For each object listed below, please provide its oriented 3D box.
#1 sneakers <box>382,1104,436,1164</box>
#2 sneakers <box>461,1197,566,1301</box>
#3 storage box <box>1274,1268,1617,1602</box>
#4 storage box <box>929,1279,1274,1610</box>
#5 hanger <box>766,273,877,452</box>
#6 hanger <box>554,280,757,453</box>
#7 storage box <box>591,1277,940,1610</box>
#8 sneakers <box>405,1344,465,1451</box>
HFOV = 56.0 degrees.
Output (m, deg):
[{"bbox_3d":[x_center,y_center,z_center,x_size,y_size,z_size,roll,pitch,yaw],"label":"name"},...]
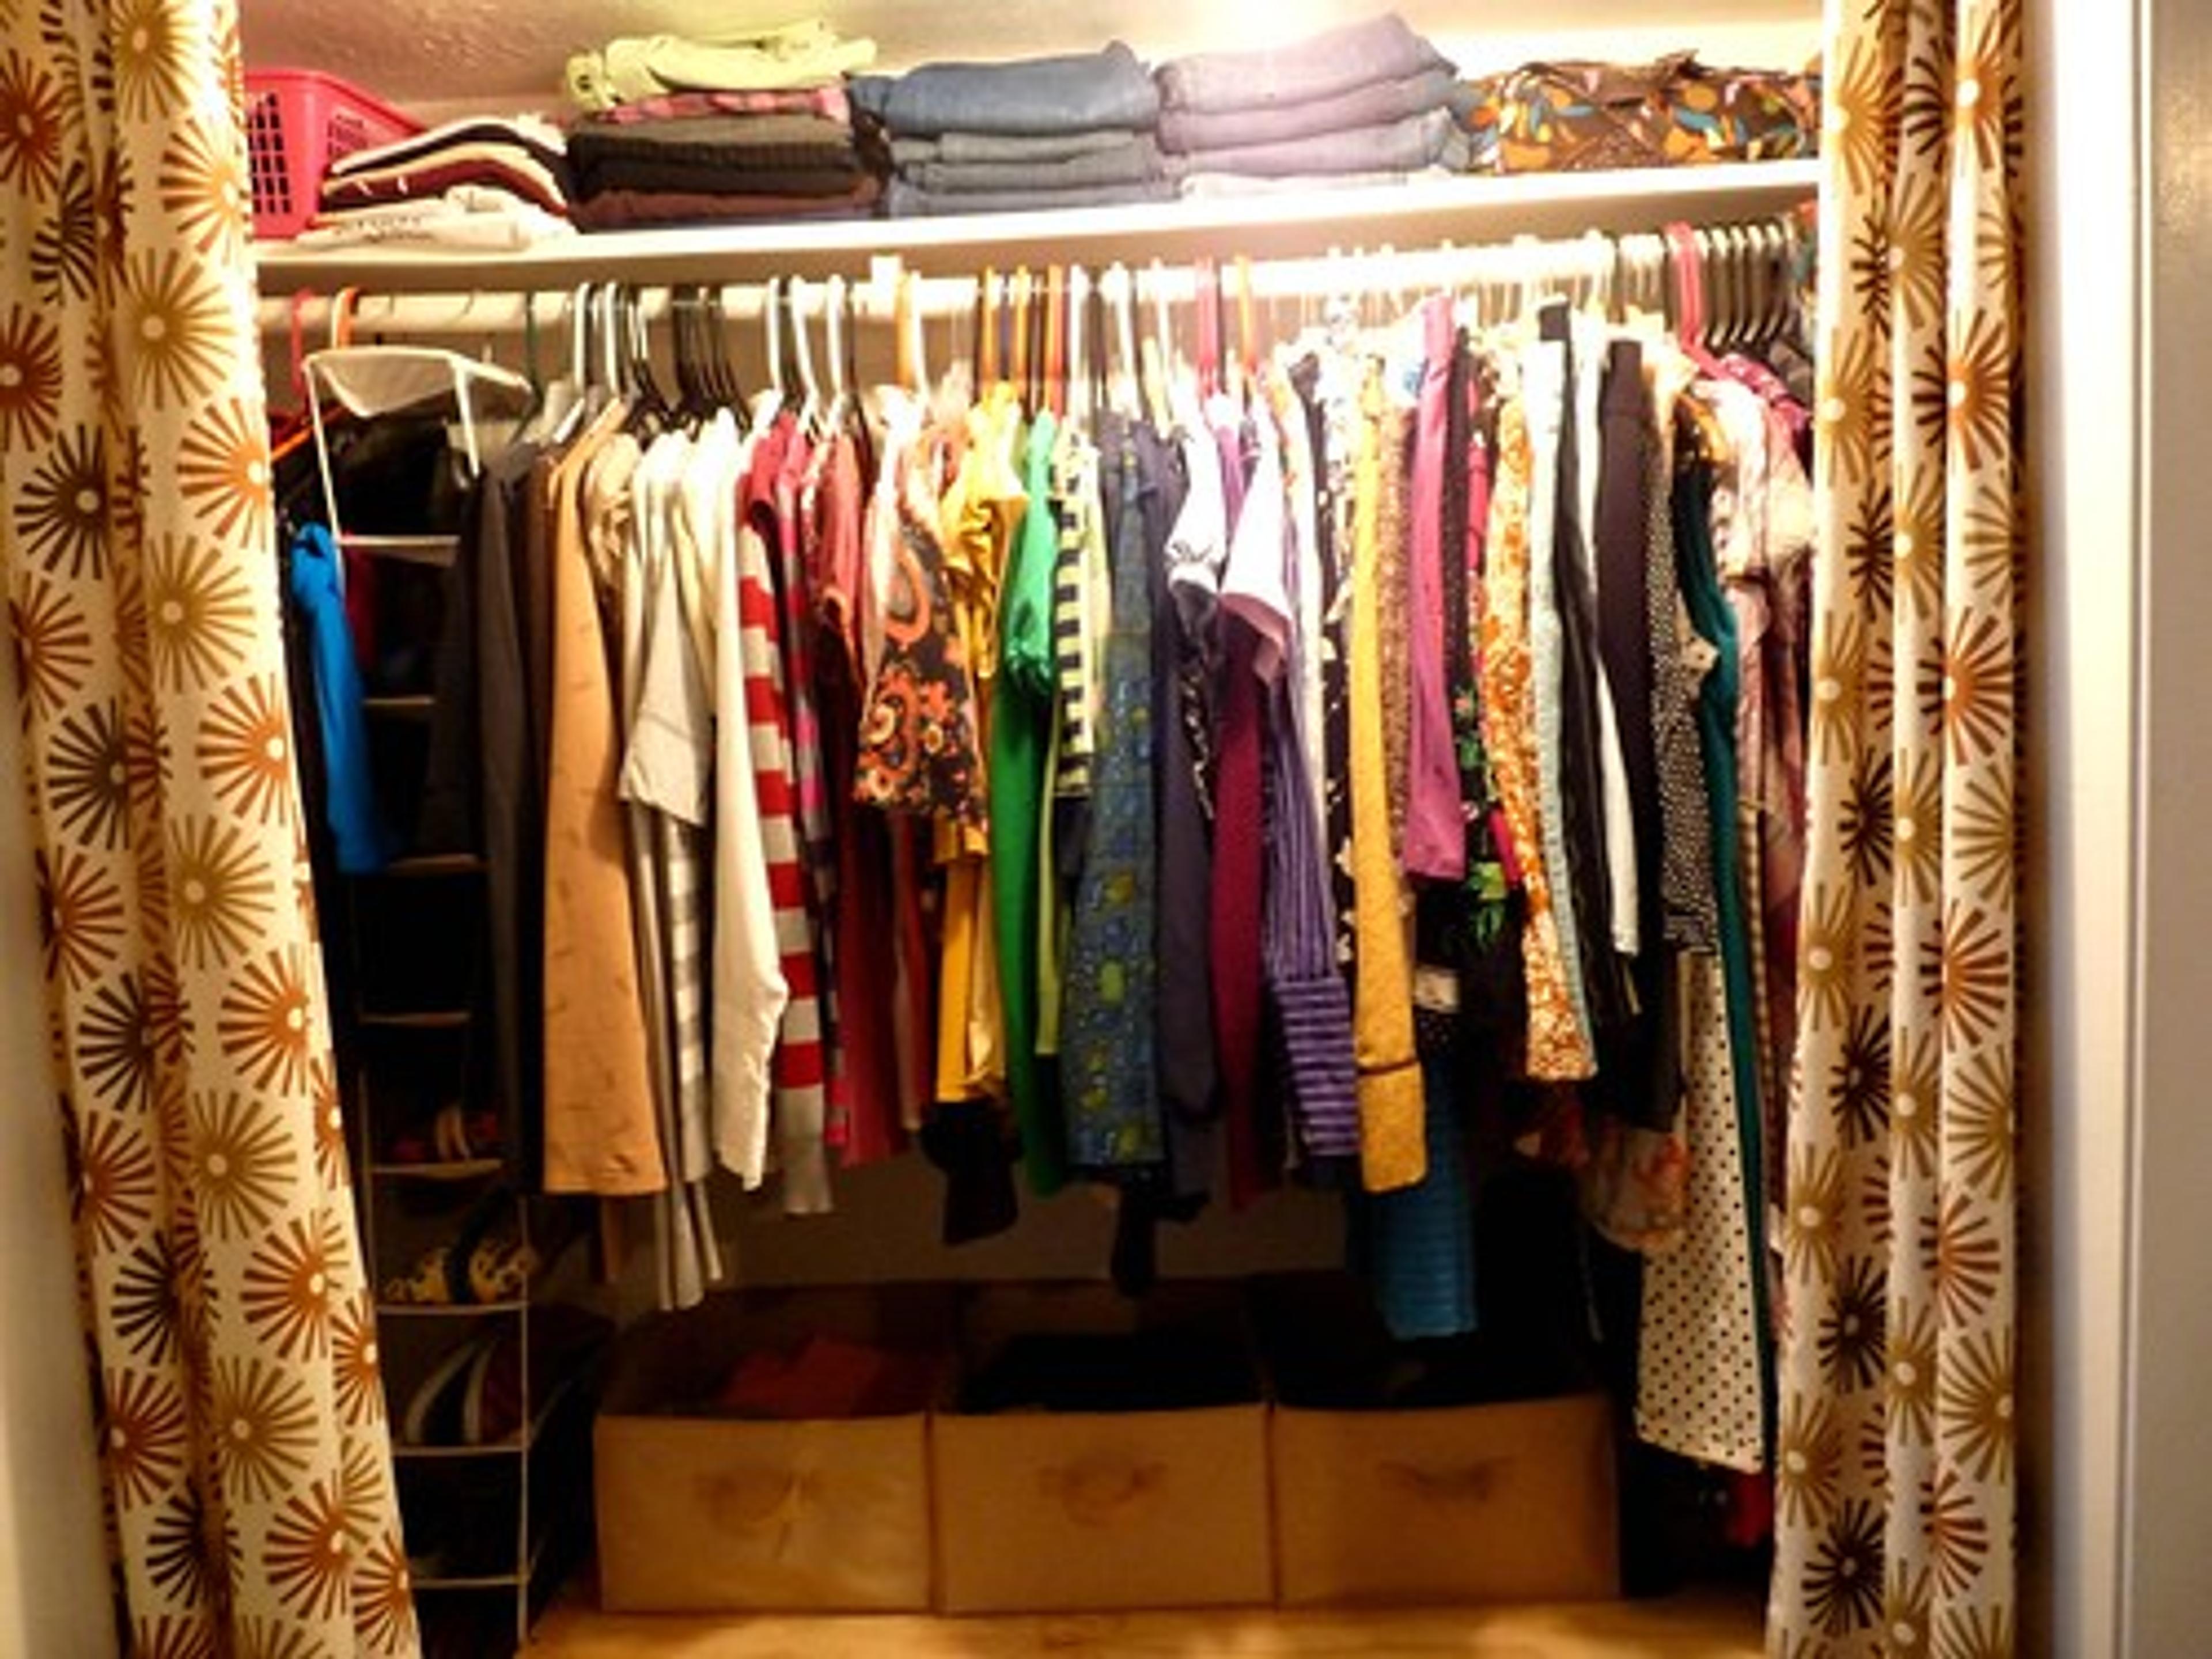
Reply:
[{"bbox_3d":[-0.808,0.356,2.413,0.057,0.054,0.154,-6,3,-21],"label":"sneakers"},{"bbox_3d":[-0.672,0.480,2.343,0.069,0.067,0.122,4,-2,-10],"label":"sneakers"},{"bbox_3d":[0.380,0.719,2.490,0.391,0.205,0.349,-5,3,2],"label":"storage box"},{"bbox_3d":[-0.002,0.745,2.515,0.391,0.231,0.380,-5,3,2],"label":"storage box"},{"bbox_3d":[-0.323,-0.539,2.398,0.137,0.249,0.065,0,3,15],"label":"hanger"},{"bbox_3d":[-0.520,-0.533,2.379,0.194,0.150,0.234,-5,3,-6],"label":"hanger"},{"bbox_3d":[-0.385,0.717,2.501,0.260,0.153,0.384,-1,1,4],"label":"storage box"},{"bbox_3d":[-0.763,0.645,2.374,0.041,0.093,0.112,-3,3,26],"label":"sneakers"}]
